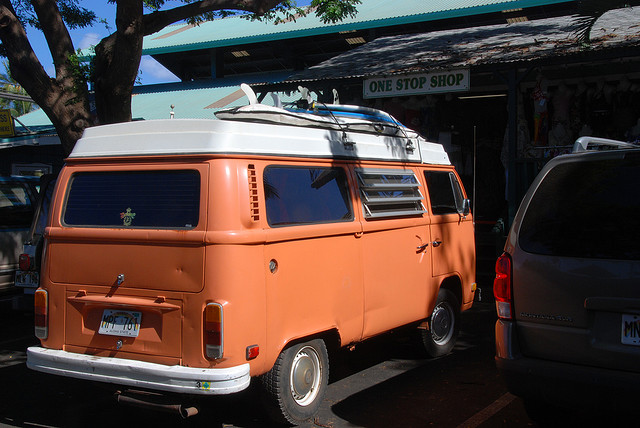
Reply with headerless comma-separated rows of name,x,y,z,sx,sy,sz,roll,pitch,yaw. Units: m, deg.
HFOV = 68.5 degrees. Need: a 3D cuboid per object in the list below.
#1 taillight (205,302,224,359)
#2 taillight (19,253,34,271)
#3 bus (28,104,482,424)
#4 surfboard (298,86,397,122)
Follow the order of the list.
taillight,-1.006,1.098,4.462,0.183,0.515,0.056,1,3,24
taillight,-4.984,0.813,7.950,0.297,0.312,0.169,3,4,42
bus,-0.597,0.240,6.818,3.281,3.015,6.104,1,6,42
surfboard,0.347,-1.649,7.196,1.508,0.489,0.769,-2,3,-25
